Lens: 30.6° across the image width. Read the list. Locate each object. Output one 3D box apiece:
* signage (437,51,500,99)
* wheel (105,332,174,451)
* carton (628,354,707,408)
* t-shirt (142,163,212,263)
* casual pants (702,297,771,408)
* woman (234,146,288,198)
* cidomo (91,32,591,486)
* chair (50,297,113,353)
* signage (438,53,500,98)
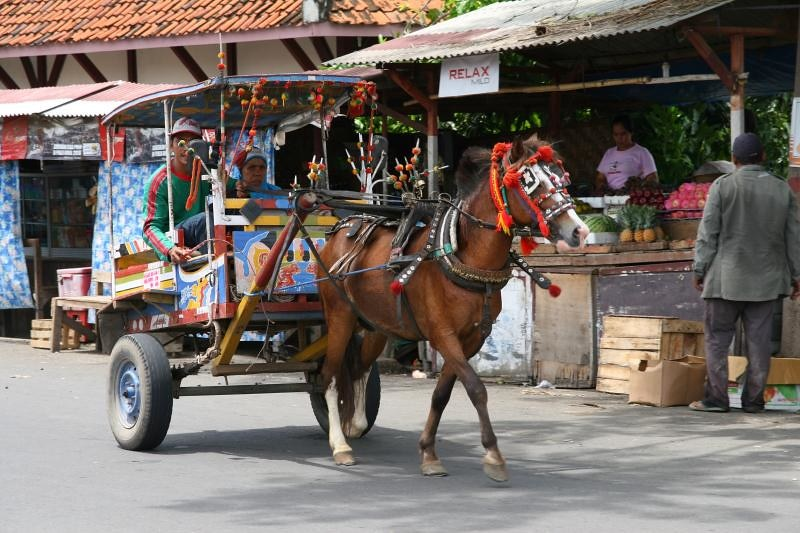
[{"bbox_3d":[0.887,-2.470,19.045,1.038,0.511,0.017,1,3,43],"label":"signage"},{"bbox_3d":[-2.787,1.372,15.643,0.418,1.153,1.146,-1,14,-37],"label":"wheel"},{"bbox_3d":[3.235,1.389,17.569,0.796,0.426,0.893,-2,-5,43],"label":"carton"},{"bbox_3d":[-2.436,-0.577,16.135,0.628,0.649,1.054,12,23,30],"label":"t-shirt"},{"bbox_3d":[3.933,0.844,16.936,0.873,1.538,0.546,-1,2,-2],"label":"casual pants"},{"bbox_3d":[-1.533,-1.004,16.174,0.539,0.384,0.700,0,-17,-11],"label":"woman"},{"bbox_3d":[-0.613,0.017,16.550,6.390,3.692,3.426,-2,-2,39],"label":"cidomo"},{"bbox_3d":[-4.386,0.879,21.482,0.973,0.725,0.920,10,-7,-38],"label":"chair"},{"bbox_3d":[0.882,-2.466,19.015,1.065,0.512,0.024,-12,20,-38],"label":"signage"}]
